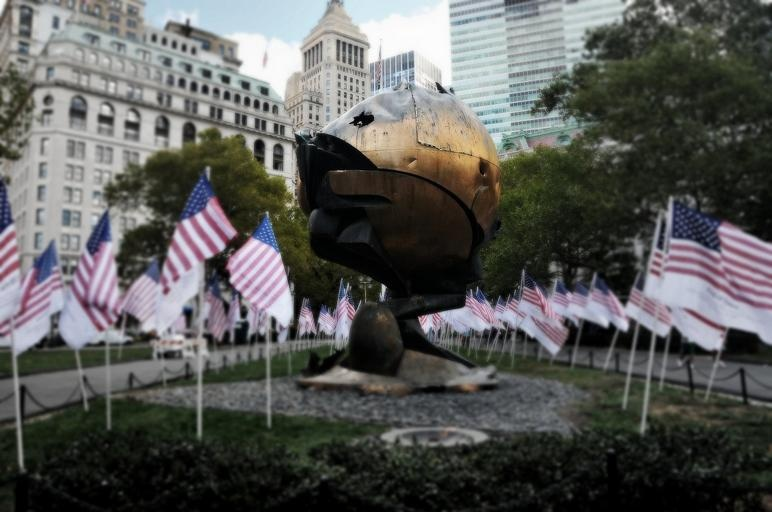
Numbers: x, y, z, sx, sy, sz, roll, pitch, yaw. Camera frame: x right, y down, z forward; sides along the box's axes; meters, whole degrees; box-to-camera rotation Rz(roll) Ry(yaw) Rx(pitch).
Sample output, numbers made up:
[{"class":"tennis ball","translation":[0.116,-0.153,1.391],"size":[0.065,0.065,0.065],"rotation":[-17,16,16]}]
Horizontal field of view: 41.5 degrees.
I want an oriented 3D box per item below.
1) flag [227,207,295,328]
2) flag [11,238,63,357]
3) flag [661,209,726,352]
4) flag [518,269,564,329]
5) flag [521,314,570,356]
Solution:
[{"class":"flag","translation":[-5.284,0.652,43.165],"size":[2.428,4.488,2.085],"rotation":[0,3,-31]},{"class":"flag","translation":[-14.825,1.777,43.653],"size":[1.890,4.927,1.664],"rotation":[5,-2,7]},{"class":"flag","translation":[12.639,0.776,42.644],"size":[2.437,6.696,1.729],"rotation":[1,1,-2]},{"class":"flag","translation":[7.372,2.012,50.010],"size":[1.684,2.536,1.484],"rotation":[2,-2,16]},{"class":"flag","translation":[7.649,3.723,50.072],"size":[2.139,0.729,2.113],"rotation":[20,48,40]}]
